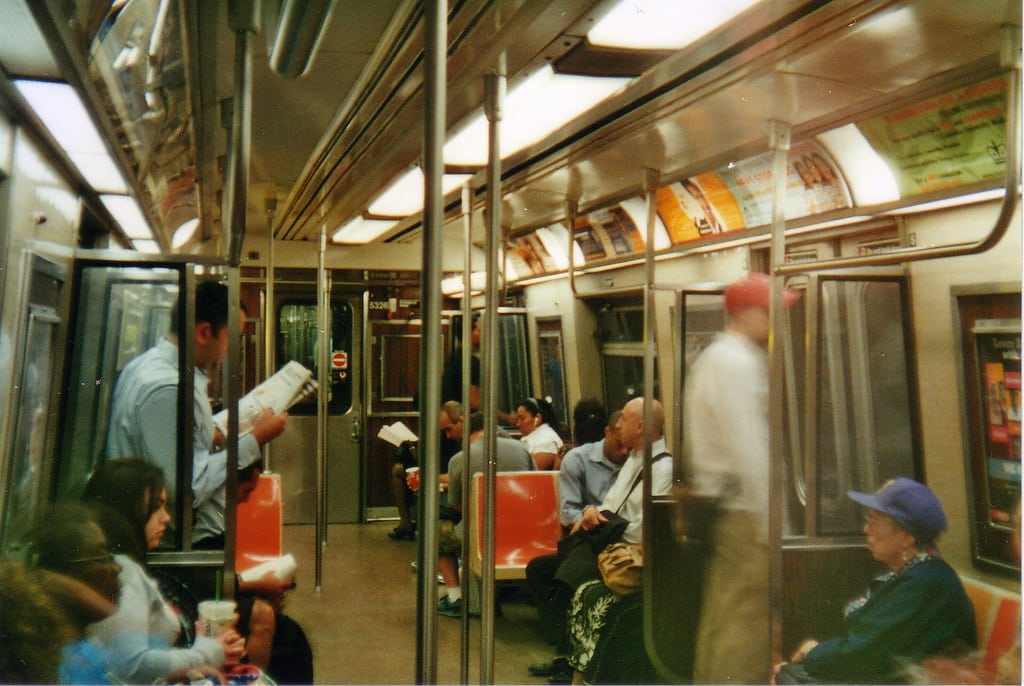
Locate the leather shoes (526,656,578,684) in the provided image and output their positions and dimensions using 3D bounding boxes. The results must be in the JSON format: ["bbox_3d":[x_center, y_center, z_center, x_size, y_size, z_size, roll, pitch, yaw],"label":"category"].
[{"bbox_3d":[0.265,2.035,5.200,0.373,0.141,0.122,-1,-10,18],"label":"leather shoes"}]

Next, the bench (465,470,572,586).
[{"bbox_3d":[0.025,1.264,5.825,0.592,0.731,0.598,-1,-5,-13],"label":"bench"}]

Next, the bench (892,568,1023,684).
[{"bbox_3d":[1.639,1.057,3.209,0.364,0.410,0.440,1,-4,0],"label":"bench"}]

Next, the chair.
[{"bbox_3d":[-1.612,1.085,5.279,0.366,0.510,0.377,9,-14,-36],"label":"chair"}]

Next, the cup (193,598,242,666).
[{"bbox_3d":[-1.292,1.272,3.780,0.202,0.306,0.236,3,7,-5],"label":"cup"}]

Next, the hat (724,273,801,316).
[{"bbox_3d":[1.073,-0.224,3.741,0.211,0.170,0.157,-2,3,22],"label":"hat"}]

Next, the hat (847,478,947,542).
[{"bbox_3d":[1.475,0.637,3.251,0.099,0.238,0.378,0,-6,-25],"label":"hat"}]

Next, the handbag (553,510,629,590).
[{"bbox_3d":[0.444,1.260,5.062,0.159,0.420,0.430,22,-9,-12],"label":"handbag"}]
